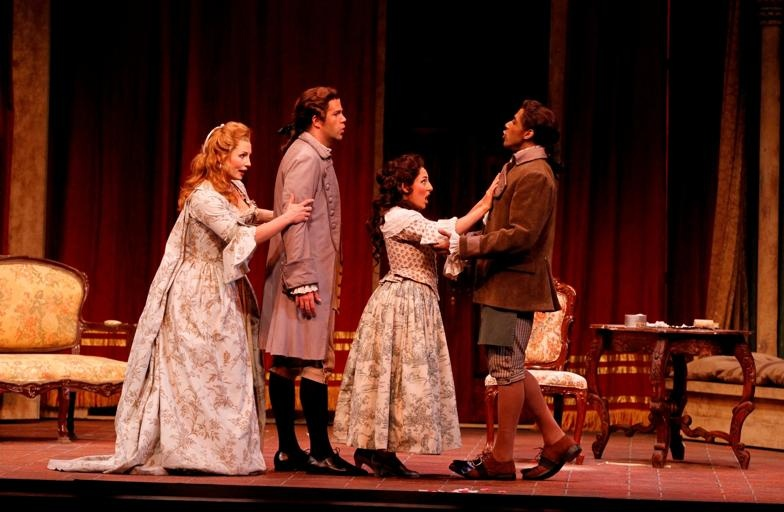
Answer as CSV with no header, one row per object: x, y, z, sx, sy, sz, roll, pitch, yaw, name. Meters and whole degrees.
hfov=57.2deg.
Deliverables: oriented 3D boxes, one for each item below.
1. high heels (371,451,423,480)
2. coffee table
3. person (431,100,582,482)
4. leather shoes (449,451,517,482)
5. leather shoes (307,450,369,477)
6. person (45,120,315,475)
0.040,1.179,4.039,0.334,0.186,0.116,1,-4,-8,high heels
1.864,0.864,5.065,0.933,0.953,1.128,3,-5,-8,coffee table
0.682,0.170,4.104,0.707,2.179,0.433,-1,-9,14,person
0.519,1.209,4.130,0.332,0.156,0.163,3,-6,11,leather shoes
-0.298,1.184,4.117,0.375,0.173,0.134,1,-6,0,leather shoes
-1.082,0.234,4.211,0.981,2.011,0.398,0,-9,7,person
